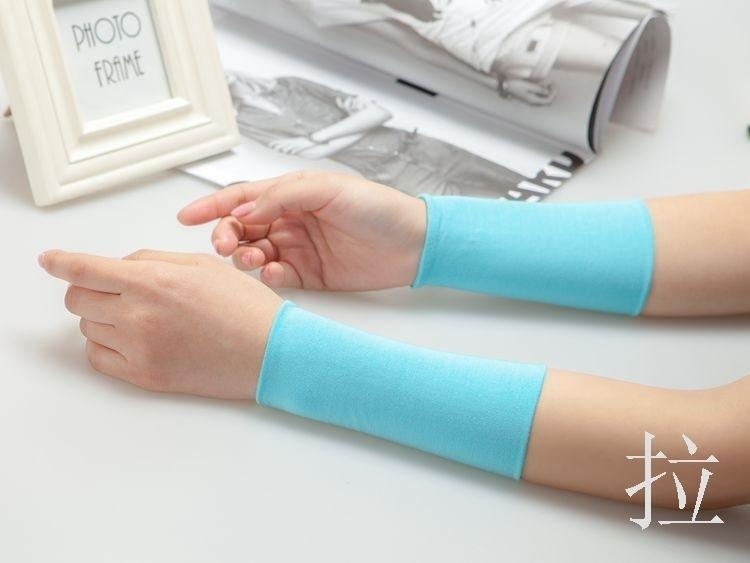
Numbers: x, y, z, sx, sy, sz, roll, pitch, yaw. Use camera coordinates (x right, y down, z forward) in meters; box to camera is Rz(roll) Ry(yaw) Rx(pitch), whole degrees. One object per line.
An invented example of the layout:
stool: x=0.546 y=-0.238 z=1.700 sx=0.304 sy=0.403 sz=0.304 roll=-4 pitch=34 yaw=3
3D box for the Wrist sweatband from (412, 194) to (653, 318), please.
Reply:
Wrist sweatband: x=0.204 y=-0.029 z=0.844 sx=0.298 sy=0.111 sz=0.140 roll=5 pitch=44 yaw=2
